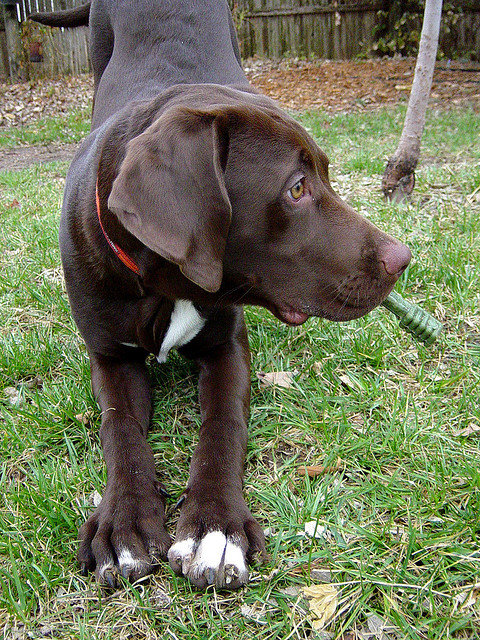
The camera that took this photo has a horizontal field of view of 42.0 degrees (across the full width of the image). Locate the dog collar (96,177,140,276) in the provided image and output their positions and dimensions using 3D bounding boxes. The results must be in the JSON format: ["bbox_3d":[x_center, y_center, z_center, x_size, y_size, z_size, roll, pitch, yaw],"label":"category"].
[{"bbox_3d":[-0.341,-0.284,1.965,0.178,0.235,0.041,28,59,25],"label":"dog collar"}]
